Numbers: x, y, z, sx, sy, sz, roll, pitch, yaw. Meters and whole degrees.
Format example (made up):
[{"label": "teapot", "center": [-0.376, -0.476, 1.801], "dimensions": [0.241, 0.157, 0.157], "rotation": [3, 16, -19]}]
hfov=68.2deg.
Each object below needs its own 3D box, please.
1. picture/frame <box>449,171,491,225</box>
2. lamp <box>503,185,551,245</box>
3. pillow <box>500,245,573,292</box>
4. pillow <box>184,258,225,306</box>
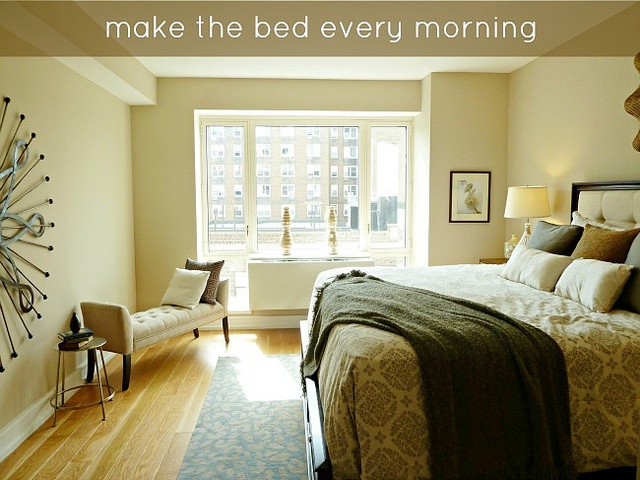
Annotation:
[{"label": "picture/frame", "center": [1.809, -0.547, 5.793], "dimensions": [0.596, 0.779, 0.050], "rotation": [1, 3, -3]}, {"label": "lamp", "center": [2.081, -0.288, 4.929], "dimensions": [0.539, 0.822, 0.547], "rotation": [0, 8, 20]}, {"label": "pillow", "center": [1.761, 0.227, 3.839], "dimensions": [0.140, 0.305, 0.494], "rotation": [33, -1, -11]}, {"label": "pillow", "center": [-1.340, 0.490, 5.390], "dimensions": [0.511, 0.526, 0.204], "rotation": [0, -14, 26]}]
